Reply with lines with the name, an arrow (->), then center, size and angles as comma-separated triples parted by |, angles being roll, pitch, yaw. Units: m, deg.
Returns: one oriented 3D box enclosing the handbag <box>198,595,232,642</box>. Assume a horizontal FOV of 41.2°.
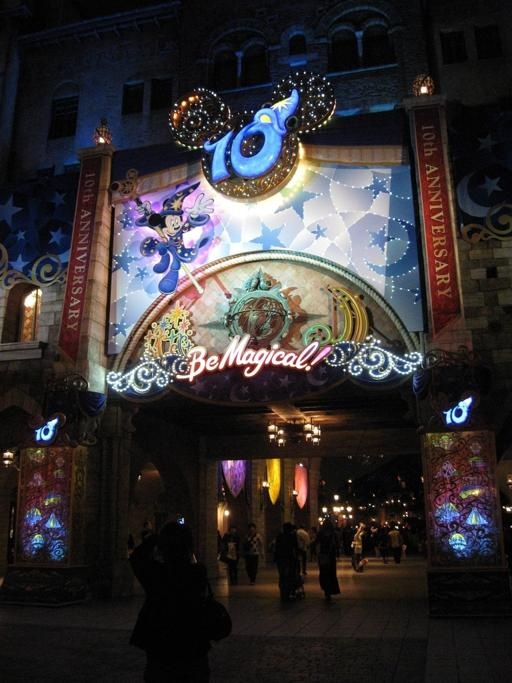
handbag -> -0.270, 1.834, 4.602 | 0.223, 0.280, 0.080 | -21, -7, 2
